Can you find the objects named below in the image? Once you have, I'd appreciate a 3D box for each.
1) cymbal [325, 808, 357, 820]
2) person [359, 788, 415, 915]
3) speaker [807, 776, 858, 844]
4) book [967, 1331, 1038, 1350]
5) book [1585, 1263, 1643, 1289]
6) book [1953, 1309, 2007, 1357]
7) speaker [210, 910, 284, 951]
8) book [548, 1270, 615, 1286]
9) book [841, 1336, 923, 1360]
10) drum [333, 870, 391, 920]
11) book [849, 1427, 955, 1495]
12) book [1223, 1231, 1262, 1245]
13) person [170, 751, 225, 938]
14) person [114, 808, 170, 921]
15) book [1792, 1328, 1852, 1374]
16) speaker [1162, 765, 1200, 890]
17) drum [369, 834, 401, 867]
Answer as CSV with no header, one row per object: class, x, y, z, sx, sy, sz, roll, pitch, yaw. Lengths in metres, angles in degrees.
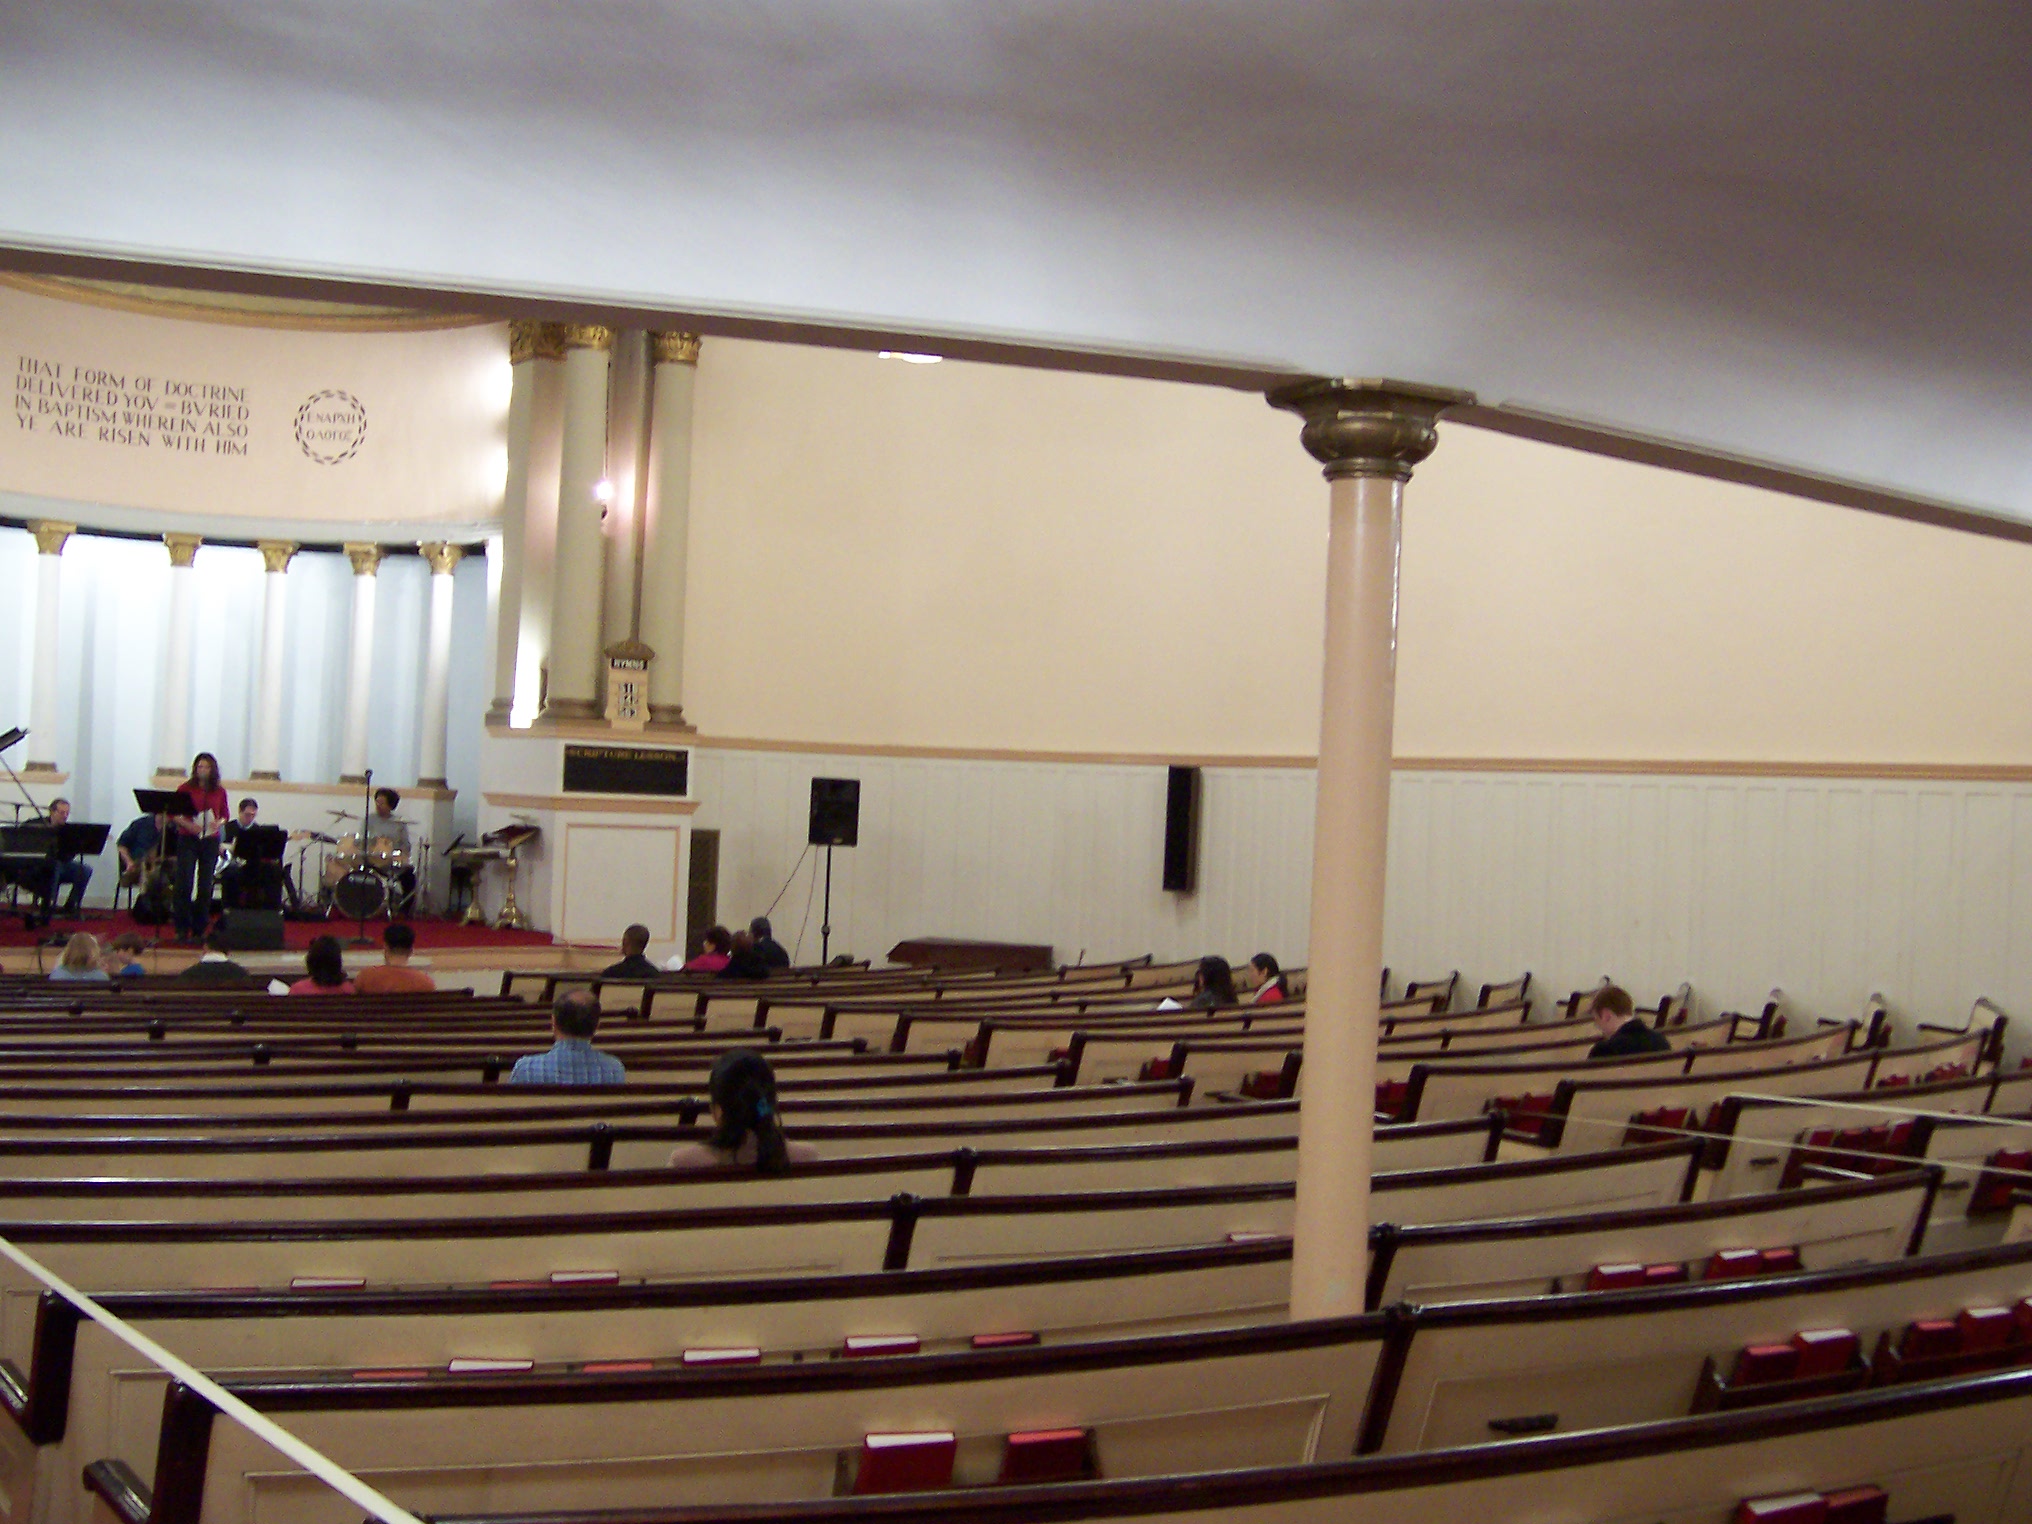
cymbal,-8.082,0.537,20.695,0.400,0.172,0.272,-1,-5,43
person,-6.644,0.921,18.375,0.748,1.349,1.030,-5,10,-23
speaker,-1.734,0.405,16.435,0.627,0.843,0.434,2,1,-3
book,-0.030,1.331,4.017,0.148,0.034,0.148,0,-5,2
book,1.634,1.375,4.711,0.109,0.093,0.058,0,-4,-13
book,2.490,1.449,4.437,0.119,0.109,0.039,0,2,-15
speaker,-6.238,1.315,14.022,0.344,0.242,0.476,2,-1,-29
book,-1.081,1.250,4.249,0.115,0.027,0.115,2,-4,-22
book,-0.308,1.331,3.981,0.164,0.038,0.163,0,-8,3
drum,-5.764,1.138,15.153,0.353,0.424,0.915,3,-4,-16
book,-0.204,1.354,3.373,0.207,0.138,0.113,3,-9,-16
book,0.651,1.336,4.896,0.098,0.025,0.097,1,1,-5
person,-7.164,0.661,15.025,0.389,1.556,1.275,4,-4,-26
person,-8.055,0.884,15.964,0.357,0.972,0.937,6,-5,-42
book,1.964,1.411,4.193,0.117,0.108,0.042,-4,4,-21
speaker,1.630,0.581,16.667,0.320,1.247,0.272,2,-4,-5
drum,-6.424,0.839,17.512,0.280,0.204,0.278,4,-2,0
